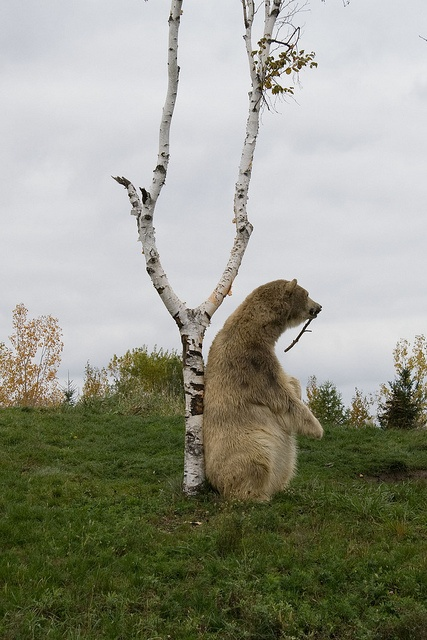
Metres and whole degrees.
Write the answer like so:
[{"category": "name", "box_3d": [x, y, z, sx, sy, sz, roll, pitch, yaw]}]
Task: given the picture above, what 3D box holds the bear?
[{"category": "bear", "box_3d": [0.550, 0.738, 11.089, 1.125, 2.604, 0.897, 3, -8, -22]}]
